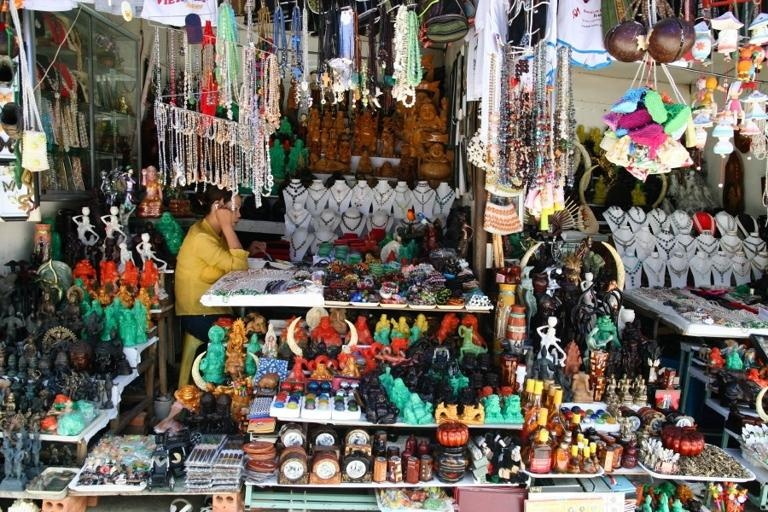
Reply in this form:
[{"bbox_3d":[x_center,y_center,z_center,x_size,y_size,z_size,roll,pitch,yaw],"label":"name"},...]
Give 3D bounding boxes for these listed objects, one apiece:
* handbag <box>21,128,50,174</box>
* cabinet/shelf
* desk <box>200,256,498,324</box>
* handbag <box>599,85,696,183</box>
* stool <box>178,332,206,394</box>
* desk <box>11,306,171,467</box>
[{"bbox_3d":[-2.460,-0.725,5.005,0.204,0.285,0.219,-1,1,7],"label":"handbag"},{"bbox_3d":[-2.583,-1.144,5.839,0.582,1.900,1.935,0,1,12],"label":"cabinet/shelf"},{"bbox_3d":[-0.305,0.326,5.780,2.136,0.463,0.924,-4,10,-4],"label":"desk"},{"bbox_3d":[1.822,-0.947,4.989,0.648,0.753,0.350,-4,-22,19],"label":"handbag"},{"bbox_3d":[-1.658,0.903,6.030,0.251,0.418,0.368,4,-23,-20],"label":"stool"},{"bbox_3d":[-2.086,0.924,5.588,0.458,0.854,1.470,-2,10,8],"label":"desk"}]
